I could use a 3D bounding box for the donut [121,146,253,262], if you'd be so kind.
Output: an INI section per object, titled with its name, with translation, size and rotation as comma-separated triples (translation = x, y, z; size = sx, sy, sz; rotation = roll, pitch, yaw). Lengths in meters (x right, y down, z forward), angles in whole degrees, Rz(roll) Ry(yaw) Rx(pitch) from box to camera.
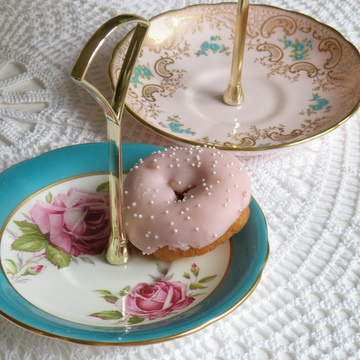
[donut]
translation = 0.008, 0.016, 0.377
size = 0.117, 0.052, 0.106
rotation = -4, 79, -2
